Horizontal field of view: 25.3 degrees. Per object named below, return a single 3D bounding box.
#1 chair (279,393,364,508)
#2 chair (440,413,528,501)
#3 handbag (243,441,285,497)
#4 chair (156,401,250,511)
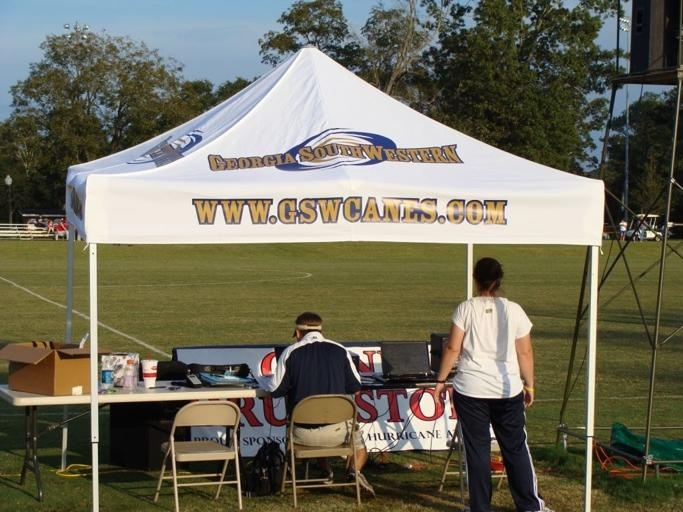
[{"bbox_3d":[-0.424,4.850,37.560,1.741,2.878,1.804,1,-1,-4],"label":"chair"},{"bbox_3d":[2.985,5.150,37.632,1.584,3.040,1.895,2,-5,-24],"label":"chair"},{"bbox_3d":[-1.987,5.331,37.185,1.044,1.961,1.378,0,-3,14],"label":"handbag"},{"bbox_3d":[-3.317,4.828,37.339,2.003,2.747,2.043,1,7,-22],"label":"chair"}]
